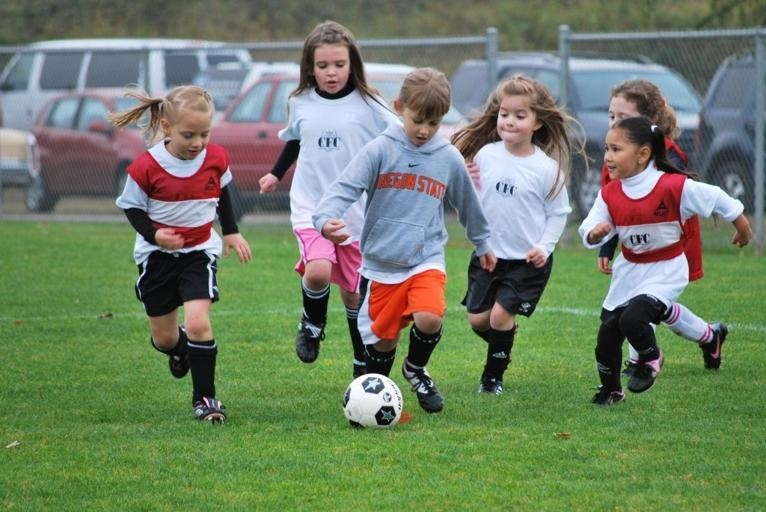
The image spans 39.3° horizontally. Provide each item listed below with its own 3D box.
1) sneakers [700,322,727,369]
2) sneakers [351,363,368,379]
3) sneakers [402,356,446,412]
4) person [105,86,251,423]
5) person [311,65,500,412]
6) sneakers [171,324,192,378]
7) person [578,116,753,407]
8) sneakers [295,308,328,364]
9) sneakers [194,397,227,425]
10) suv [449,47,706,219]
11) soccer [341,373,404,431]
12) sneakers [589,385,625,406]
[{"bbox_3d":[2.650,0.717,8.700,0.232,0.443,0.160,-5,8,-15],"label":"sneakers"},{"bbox_3d":[-0.200,0.914,8.563,0.118,0.119,0.126,-2,-1,34],"label":"sneakers"},{"bbox_3d":[0.273,0.988,8.125,0.201,0.473,0.201,-29,-17,-17],"label":"sneakers"},{"bbox_3d":[-1.500,-0.058,7.993,0.879,2.407,0.722,3,9,11],"label":"person"},{"bbox_3d":[0.157,-0.113,7.891,1.248,2.532,0.543,1,9,1],"label":"person"},{"bbox_3d":[-1.550,0.734,8.326,0.171,0.457,0.200,4,36,4],"label":"sneakers"},{"bbox_3d":[1.990,0.043,8.011,1.049,2.129,0.438,2,9,9],"label":"person"},{"bbox_3d":[-0.577,0.640,8.571,0.170,0.459,0.207,9,-11,-29],"label":"sneakers"},{"bbox_3d":[-1.262,1.127,7.808,0.139,0.111,0.234,4,-8,-29],"label":"sneakers"},{"bbox_3d":[2.354,-1.985,15.223,3.974,1.671,1.973,2,4,35],"label":"suv"},{"bbox_3d":[-0.074,1.047,7.731,0.388,0.370,0.358,1,-12,-4],"label":"soccer"},{"bbox_3d":[1.680,1.059,8.060,0.309,0.126,0.108,1,0,-4],"label":"sneakers"}]
